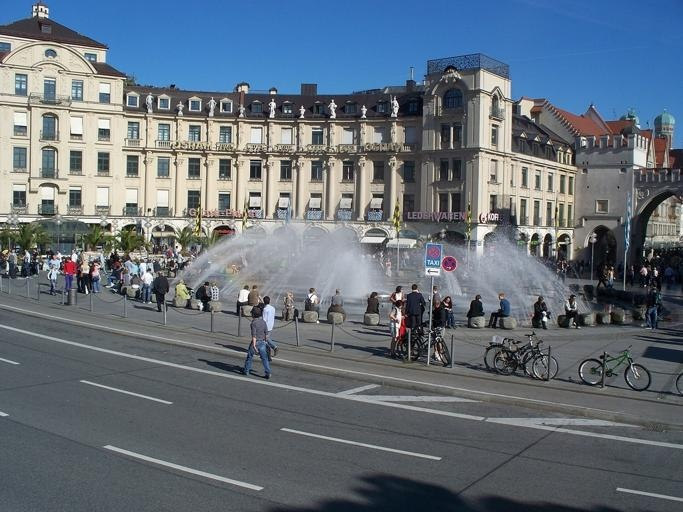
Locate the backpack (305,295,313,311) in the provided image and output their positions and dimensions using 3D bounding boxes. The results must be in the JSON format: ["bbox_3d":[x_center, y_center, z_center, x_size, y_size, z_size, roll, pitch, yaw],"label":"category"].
[{"bbox_3d":[-1.714,2.522,49.710,0.368,0.797,0.791,0,14,-5],"label":"backpack"}]
